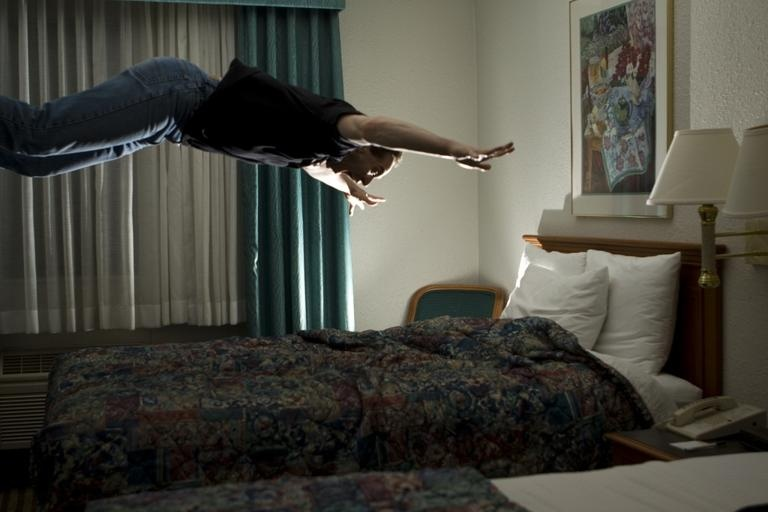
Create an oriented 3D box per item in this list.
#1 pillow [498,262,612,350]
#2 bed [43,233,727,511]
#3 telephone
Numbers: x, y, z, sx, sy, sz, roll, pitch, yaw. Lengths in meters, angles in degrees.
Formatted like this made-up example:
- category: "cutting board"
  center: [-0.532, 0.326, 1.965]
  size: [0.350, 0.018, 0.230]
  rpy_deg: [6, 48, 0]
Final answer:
- category: "pillow"
  center: [1.034, 0.255, 3.356]
  size: [0.154, 0.453, 0.463]
  rpy_deg: [29, -19, -35]
- category: "bed"
  center: [-0.185, 0.650, 2.779]
  size: [2.319, 0.863, 1.482]
  rpy_deg: [1, 3, -9]
- category: "telephone"
  center: [1.436, 0.663, 2.542]
  size: [0.338, 0.133, 0.190]
  rpy_deg: [-2, 2, -16]
